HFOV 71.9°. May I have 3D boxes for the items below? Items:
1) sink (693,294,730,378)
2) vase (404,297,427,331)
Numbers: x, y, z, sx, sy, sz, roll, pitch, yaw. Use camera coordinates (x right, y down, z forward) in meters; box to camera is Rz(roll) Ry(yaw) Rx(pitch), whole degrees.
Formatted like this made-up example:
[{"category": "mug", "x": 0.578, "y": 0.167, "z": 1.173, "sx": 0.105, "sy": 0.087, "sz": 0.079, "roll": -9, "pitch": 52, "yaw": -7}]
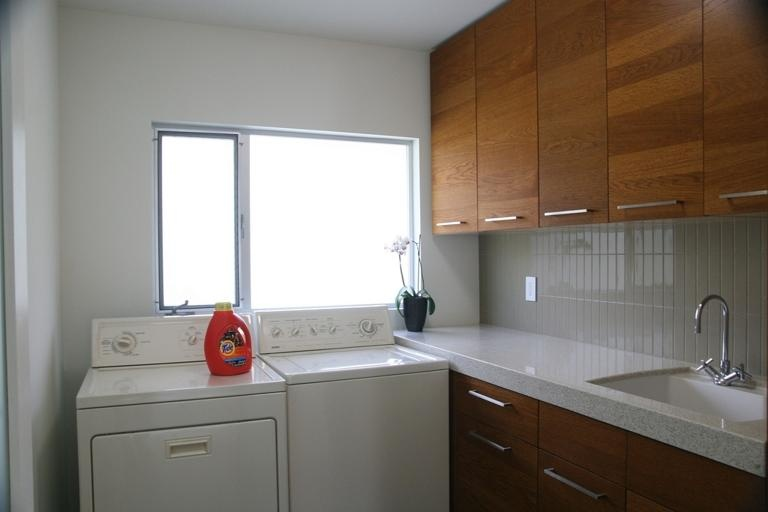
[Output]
[{"category": "sink", "x": 1.343, "y": 0.316, "z": 2.168, "sx": 0.123, "sy": 0.331, "sz": 0.305, "roll": 0, "pitch": 6, "yaw": 32}, {"category": "vase", "x": 0.139, "y": 0.351, "z": 3.194, "sx": 0.201, "sy": 0.210, "sz": 0.194, "roll": 0, "pitch": -6, "yaw": 1}]
